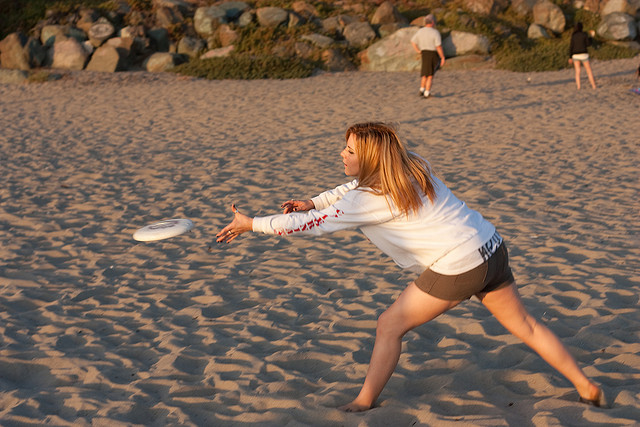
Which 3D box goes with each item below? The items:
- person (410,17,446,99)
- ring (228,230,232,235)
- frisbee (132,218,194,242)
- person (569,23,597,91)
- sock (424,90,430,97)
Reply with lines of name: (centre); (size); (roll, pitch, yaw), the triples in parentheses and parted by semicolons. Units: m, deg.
person: (2.956, -4.207, 18.868); (0.753, 2.148, 0.972); (-8, 21, 8)
ring: (-1.036, 0.228, 8.173); (0.071, 0.044, 0.014); (4, -16, 7)
frisbee: (-2.002, 0.257, 9.086); (0.753, 0.241, 0.533); (-9, 16, -11)
person: (7.323, -4.385, 19.518); (0.651, 1.897, 1.095); (-3, 21, 20)
sock: (2.945, -3.286, 19.081); (0.129, 0.202, 0.224); (-16, 20, -16)
